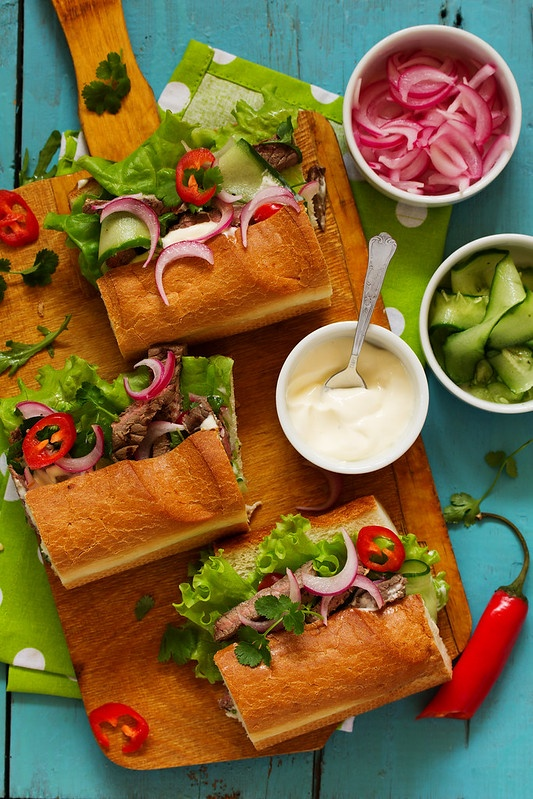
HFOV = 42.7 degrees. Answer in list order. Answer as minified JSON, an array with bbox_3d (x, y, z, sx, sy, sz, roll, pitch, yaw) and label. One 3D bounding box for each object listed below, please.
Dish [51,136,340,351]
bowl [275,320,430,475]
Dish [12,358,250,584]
[{"bbox_3d":[-0.188,-0.431,2.462,0.975,0.477,0.519,-20,86,4],"label":"Dish"},{"bbox_3d":[0.298,-0.013,2.409,0.522,0.346,0.441,5,45,11],"label":"bowl"},{"bbox_3d":[-0.522,0.212,2.587,0.882,0.651,0.719,-9,45,-4],"label":"Dish"}]
